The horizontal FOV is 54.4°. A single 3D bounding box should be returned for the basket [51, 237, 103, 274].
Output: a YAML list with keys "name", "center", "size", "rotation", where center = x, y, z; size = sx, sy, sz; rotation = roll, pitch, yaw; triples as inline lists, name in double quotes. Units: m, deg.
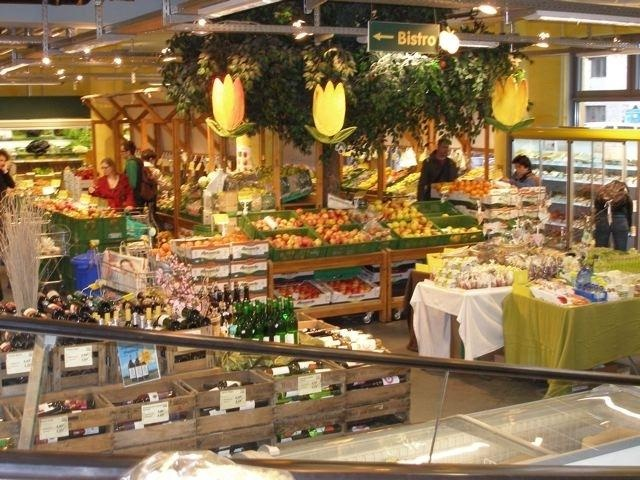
- name: "basket"
  center: [-2.699, 0.156, 6.910]
  size: [0.440, 0.651, 0.412]
  rotation: [-5, 14, -29]

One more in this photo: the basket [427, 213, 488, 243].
- name: "basket"
  center: [1.865, -0.167, 8.348]
  size: [0.492, 0.148, 0.469]
  rotation: [-5, 27, -10]

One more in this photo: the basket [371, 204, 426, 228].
- name: "basket"
  center: [1.056, -0.360, 8.291]
  size: [0.432, 0.099, 0.418]
  rotation: [-5, 19, -17]

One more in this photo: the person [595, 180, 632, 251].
- name: "person"
  center: [4.132, -0.342, 8.727]
  size: [0.474, 0.984, 0.872]
  rotation: [0, 7, 24]

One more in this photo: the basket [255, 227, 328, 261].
- name: "basket"
  center: [-0.360, 0.055, 7.545]
  size: [0.784, 0.331, 0.356]
  rotation: [-4, 7, -19]

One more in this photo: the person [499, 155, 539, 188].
- name: "person"
  center: [3.220, -1.091, 9.943]
  size: [0.526, 0.552, 0.803]
  rotation: [-5, 13, -11]

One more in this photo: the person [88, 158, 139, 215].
- name: "person"
  center: [-3.111, -0.860, 9.288]
  size: [0.532, 0.710, 0.669]
  rotation: [-6, 7, -28]

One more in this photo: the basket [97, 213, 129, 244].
- name: "basket"
  center: [-2.532, -0.186, 7.732]
  size: [0.479, 0.397, 0.330]
  rotation: [-4, 7, -41]

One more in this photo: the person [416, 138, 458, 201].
- name: "person"
  center: [1.763, -1.073, 9.398]
  size: [0.535, 0.914, 0.568]
  rotation: [0, 7, 20]
